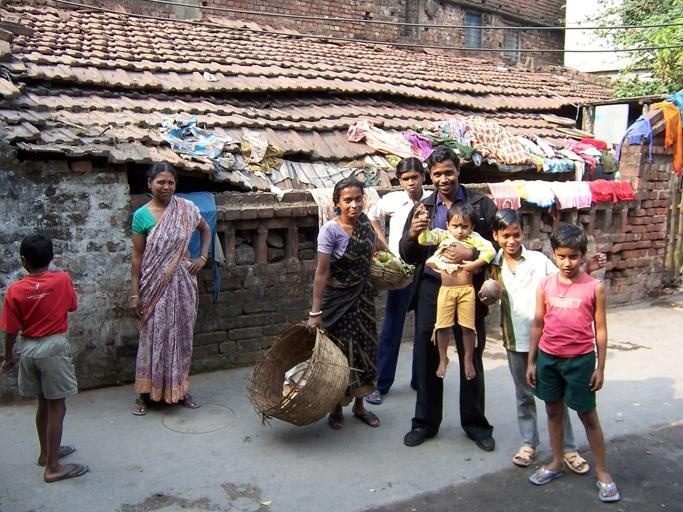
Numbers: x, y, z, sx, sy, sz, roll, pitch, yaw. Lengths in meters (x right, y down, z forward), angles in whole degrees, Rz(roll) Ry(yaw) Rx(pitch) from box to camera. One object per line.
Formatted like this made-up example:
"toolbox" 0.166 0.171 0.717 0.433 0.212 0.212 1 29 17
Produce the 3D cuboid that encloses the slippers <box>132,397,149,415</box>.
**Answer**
"slippers" -2.042 1.535 6.128 0.122 0.099 0.238 4 -10 -15

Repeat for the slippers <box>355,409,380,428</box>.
"slippers" 0.266 1.622 6.059 0.113 0.070 0.287 -4 5 -28

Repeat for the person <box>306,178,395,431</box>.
"person" 0.069 0.483 5.805 0.806 2.453 0.363 -5 9 -41

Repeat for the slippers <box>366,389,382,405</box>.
"slippers" 0.356 1.537 6.498 0.114 0.120 0.299 -2 -12 13

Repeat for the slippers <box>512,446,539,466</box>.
"slippers" 1.627 1.794 5.377 0.105 0.101 0.274 3 0 28

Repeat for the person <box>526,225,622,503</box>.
"person" 1.942 1.040 5.024 0.750 1.896 0.305 3 7 24

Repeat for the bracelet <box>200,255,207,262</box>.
"bracelet" -1.435 0.029 6.265 0.049 0.067 0.036 9 1 44

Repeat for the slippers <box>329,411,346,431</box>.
"slippers" -0.048 1.640 5.962 0.163 0.199 0.497 1 -14 0

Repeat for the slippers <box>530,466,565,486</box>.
"slippers" 1.745 1.873 5.127 0.294 0.120 0.082 -7 -37 11

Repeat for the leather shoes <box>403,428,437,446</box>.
"leather shoes" 0.731 1.688 5.759 0.355 0.153 0.130 -3 17 -29

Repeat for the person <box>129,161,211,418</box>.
"person" -1.744 0.272 6.078 0.751 2.381 0.344 -2 7 -20

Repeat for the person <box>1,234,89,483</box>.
"person" -2.473 0.849 4.993 0.598 2.058 0.356 -3 7 -30

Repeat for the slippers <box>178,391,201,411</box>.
"slippers" -1.579 1.522 6.293 0.285 0.119 0.100 0 5 36

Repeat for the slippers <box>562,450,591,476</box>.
"slippers" 2.045 1.799 5.268 0.121 0.086 0.311 -21 13 -5

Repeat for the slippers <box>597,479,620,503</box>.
"slippers" 2.217 1.932 4.959 0.208 0.144 0.163 1 6 5

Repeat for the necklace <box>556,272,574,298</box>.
"necklace" 1.850 0.247 4.999 0.131 0.179 0.063 6 -2 -44

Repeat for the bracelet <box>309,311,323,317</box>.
"bracelet" -0.244 0.538 5.712 0.107 0.063 0.159 0 6 -1

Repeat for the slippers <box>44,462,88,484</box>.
"slippers" -2.317 1.823 5.072 0.257 0.064 0.134 -4 13 -41
